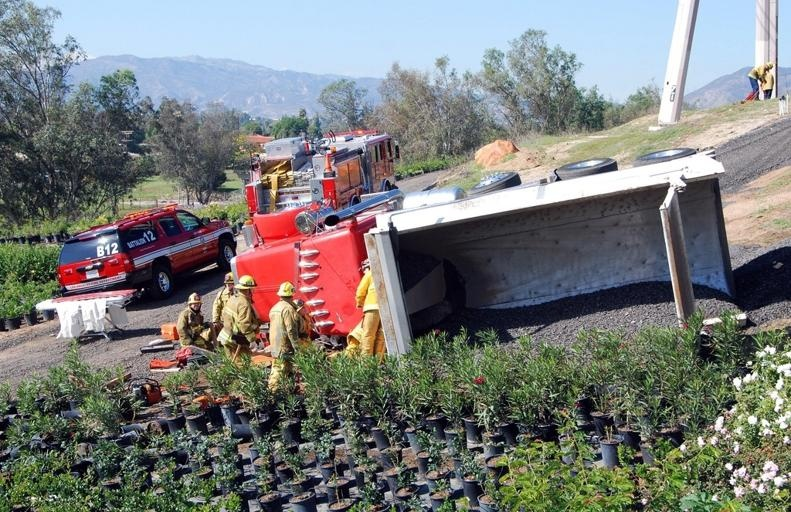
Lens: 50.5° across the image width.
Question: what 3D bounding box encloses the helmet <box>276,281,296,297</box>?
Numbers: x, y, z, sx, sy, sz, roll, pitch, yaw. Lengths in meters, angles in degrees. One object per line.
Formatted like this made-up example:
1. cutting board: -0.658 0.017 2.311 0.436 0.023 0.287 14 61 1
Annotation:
1. helmet: -1.996 0.620 15.223 0.267 0.281 0.202 -7 0 -3

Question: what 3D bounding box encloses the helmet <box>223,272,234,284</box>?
1. helmet: -3.475 0.468 17.473 0.260 0.248 0.376 1 3 3

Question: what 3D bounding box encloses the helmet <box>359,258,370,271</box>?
1. helmet: -0.596 0.170 15.761 0.255 0.144 0.191 -17 15 -29

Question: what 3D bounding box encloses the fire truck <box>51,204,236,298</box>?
1. fire truck: -6.749 -0.115 23.451 2.394 2.157 5.941 4 16 26

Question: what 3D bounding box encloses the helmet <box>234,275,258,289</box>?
1. helmet: -2.841 0.510 16.090 0.262 0.177 0.339 13 20 37

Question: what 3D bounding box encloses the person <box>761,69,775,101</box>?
1. person: 14.715 -6.736 33.090 0.481 1.238 1.110 -7 0 24

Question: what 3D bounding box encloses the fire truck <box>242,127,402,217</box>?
1. fire truck: -1.644 -2.585 23.885 2.198 1.823 4.501 6 20 28
